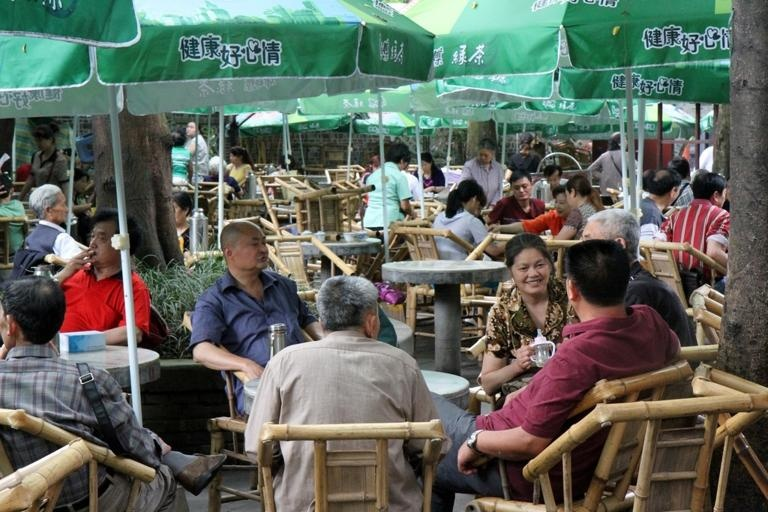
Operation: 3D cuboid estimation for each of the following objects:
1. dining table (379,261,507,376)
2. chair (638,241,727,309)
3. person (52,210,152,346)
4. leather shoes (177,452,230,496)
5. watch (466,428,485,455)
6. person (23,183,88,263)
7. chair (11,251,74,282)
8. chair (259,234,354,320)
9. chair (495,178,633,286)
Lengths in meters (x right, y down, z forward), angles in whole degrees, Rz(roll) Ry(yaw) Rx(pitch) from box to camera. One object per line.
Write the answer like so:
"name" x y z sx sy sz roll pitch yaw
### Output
"dining table" 0.487 0.447 7.524 0.900 1.025 0.892 -1 2 -12
"chair" 2.162 0.131 6.798 0.333 0.485 0.335 -40 26 -21
"person" -1.872 0.165 6.200 0.722 0.744 0.461 17 15 23
"leather shoes" -0.963 1.133 5.012 0.124 0.119 0.319 28 24 9
"watch" 0.449 0.920 4.653 0.059 0.114 0.084 6 8 -2
"person" -2.861 -0.271 8.185 0.383 0.582 0.770 -12 19 -43
"chair" -2.337 0.075 6.420 0.182 0.181 0.166 -7 13 -35
"chair" -0.771 0.189 8.830 0.652 1.004 0.646 -5 -1 -22
"chair" 1.616 -0.369 9.109 0.807 1.412 0.600 0 -3 6
